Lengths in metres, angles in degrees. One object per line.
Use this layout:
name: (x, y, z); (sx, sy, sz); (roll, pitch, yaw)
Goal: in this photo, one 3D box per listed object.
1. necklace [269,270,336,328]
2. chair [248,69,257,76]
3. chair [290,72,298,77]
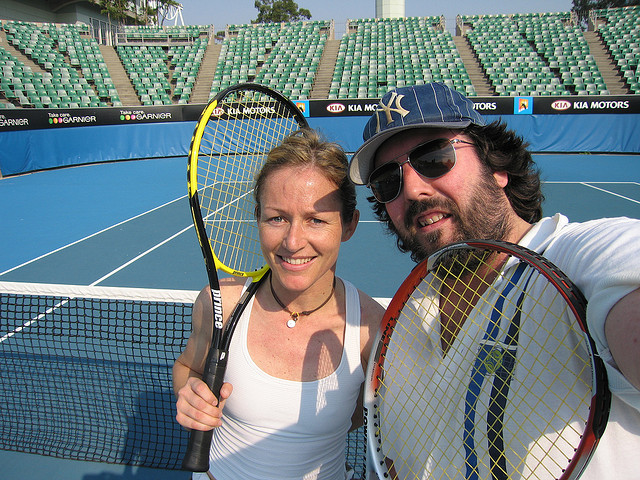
necklace: (-0.161, 0.337, 3.571); (0.327, 0.036, 0.469); (5, 56, -18)
chair: (-2.851, -6.888, 22.975); (0.352, 0.270, 0.298); (0, 10, 4)
chair: (-1.078, -6.549, 22.066); (0.296, 0.177, 0.493); (1, 17, -5)
